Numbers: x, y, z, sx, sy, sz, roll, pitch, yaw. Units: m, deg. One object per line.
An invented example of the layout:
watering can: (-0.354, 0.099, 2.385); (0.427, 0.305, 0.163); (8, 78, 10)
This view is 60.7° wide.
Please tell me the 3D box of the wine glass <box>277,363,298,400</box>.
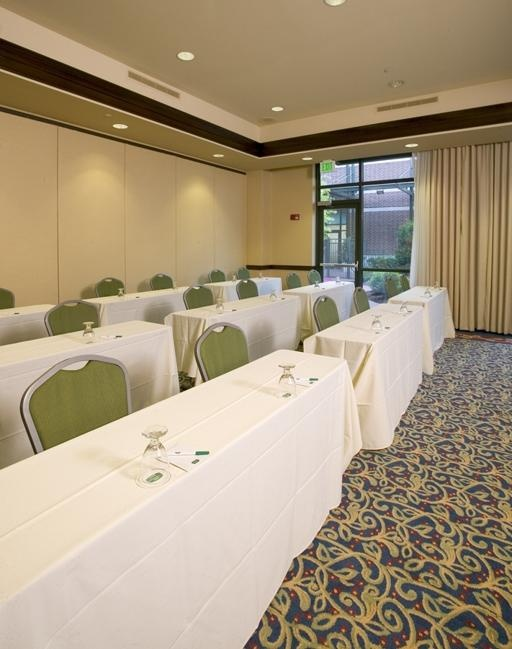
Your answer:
wine glass: (0.129, 0.244, 1.824); (0.114, 0.174, 0.112); (0, -2, 5)
